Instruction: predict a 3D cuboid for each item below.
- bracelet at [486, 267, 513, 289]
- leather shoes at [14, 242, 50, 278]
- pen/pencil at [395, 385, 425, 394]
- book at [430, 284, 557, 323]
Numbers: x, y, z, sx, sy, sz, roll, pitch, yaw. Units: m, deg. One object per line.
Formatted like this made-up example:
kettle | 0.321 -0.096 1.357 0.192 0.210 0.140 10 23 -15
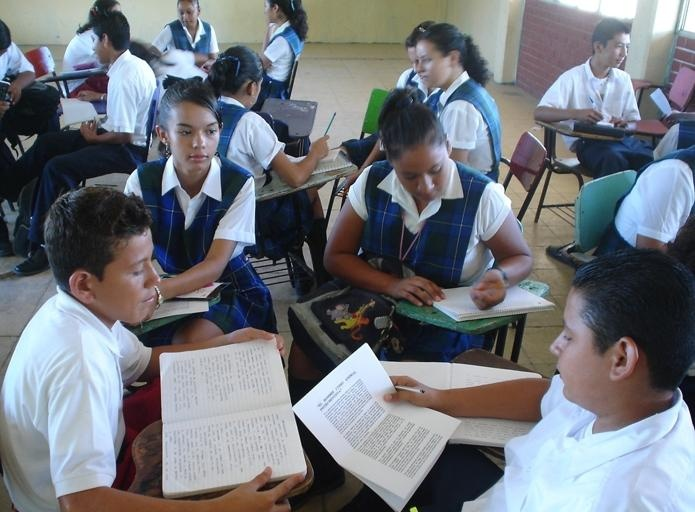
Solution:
bracelet | 0.553 0.076 2.086 0.068 0.031 0.080 27 20 -41
leather shoes | -1.872 0.031 3.392 0.087 0.108 0.245 21 33 19
pen/pencil | 0.183 0.391 1.667 0.101 0.029 0.028 0 19 2
book | 0.527 0.176 2.037 0.195 0.032 0.219 -9 18 -13
